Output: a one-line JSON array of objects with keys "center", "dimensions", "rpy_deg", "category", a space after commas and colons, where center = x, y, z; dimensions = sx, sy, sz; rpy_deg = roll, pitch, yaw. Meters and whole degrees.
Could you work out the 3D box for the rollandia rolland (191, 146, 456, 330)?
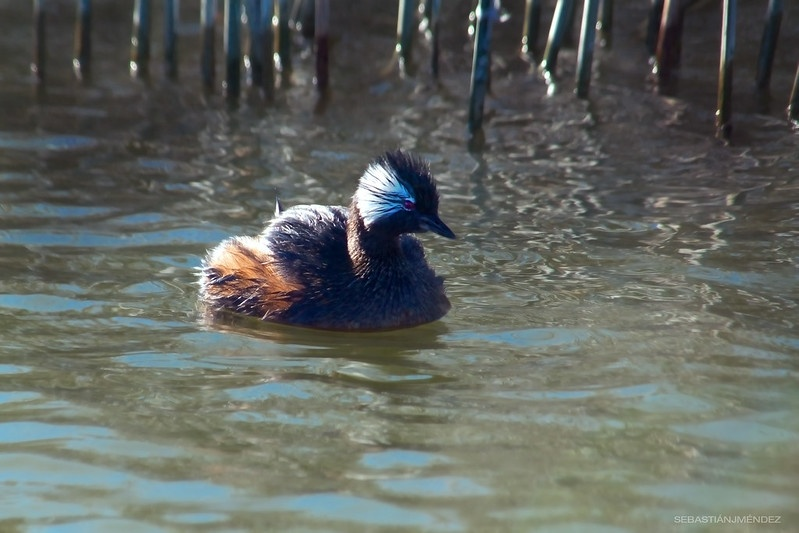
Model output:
[{"center": [-0.683, -0.291, 7.249], "dimensions": [2.463, 1.781, 1.015], "rpy_deg": [1, 10, 1], "category": "rollandia rolland"}]
